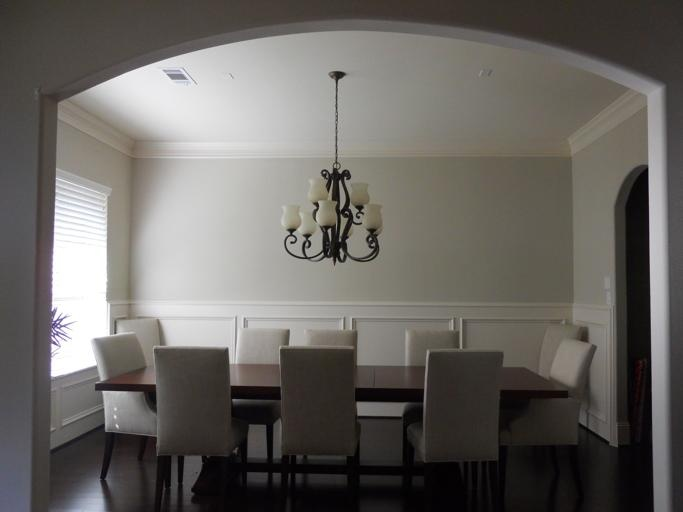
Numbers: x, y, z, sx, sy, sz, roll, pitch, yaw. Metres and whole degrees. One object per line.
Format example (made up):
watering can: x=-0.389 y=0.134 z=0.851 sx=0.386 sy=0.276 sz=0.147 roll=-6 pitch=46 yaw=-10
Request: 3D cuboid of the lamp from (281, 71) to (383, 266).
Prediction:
lamp: x=-0.030 y=-0.743 z=4.425 sx=0.717 sy=1.632 sz=0.763 roll=2 pitch=-5 yaw=-4
